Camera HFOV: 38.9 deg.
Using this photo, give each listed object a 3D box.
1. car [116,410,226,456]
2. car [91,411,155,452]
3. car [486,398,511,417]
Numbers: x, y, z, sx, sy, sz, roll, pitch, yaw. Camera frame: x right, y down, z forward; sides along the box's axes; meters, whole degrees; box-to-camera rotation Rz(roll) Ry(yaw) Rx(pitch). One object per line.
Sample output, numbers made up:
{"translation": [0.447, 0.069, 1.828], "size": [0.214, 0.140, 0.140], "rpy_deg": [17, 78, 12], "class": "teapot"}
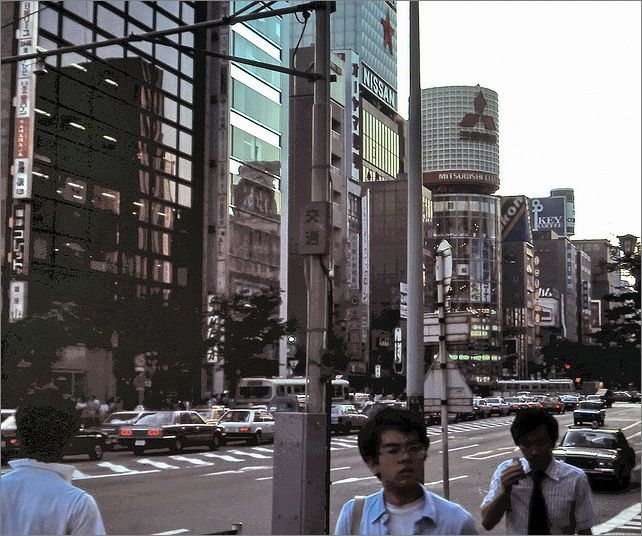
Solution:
{"translation": [-5.235, 5.778, 31.617], "size": [1.600, 1.550, 4.011], "rpy_deg": [-8, -13, 26], "class": "car"}
{"translation": [-7.143, 5.777, 31.915], "size": [1.136, 1.054, 2.090], "rpy_deg": [-4, -10, 12], "class": "car"}
{"translation": [14.313, 11.322, 73.437], "size": [1.215, 1.112, 3.047], "rpy_deg": [-3, -15, 10], "class": "car"}
